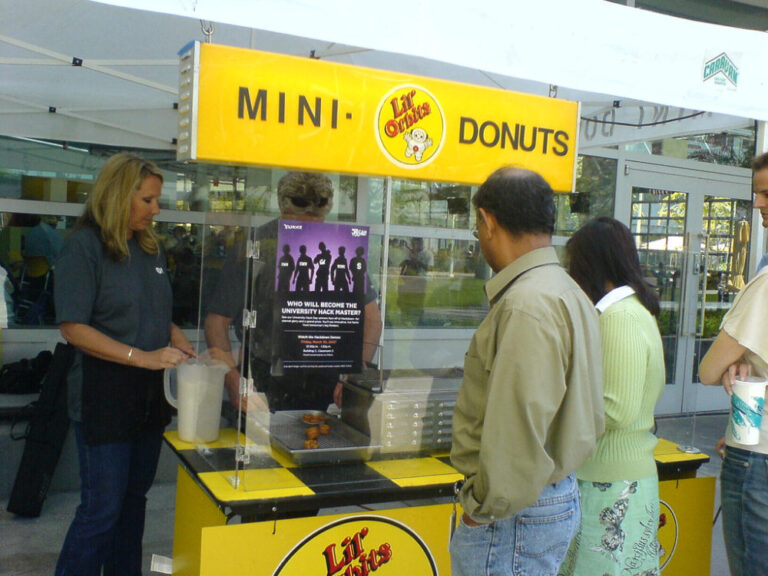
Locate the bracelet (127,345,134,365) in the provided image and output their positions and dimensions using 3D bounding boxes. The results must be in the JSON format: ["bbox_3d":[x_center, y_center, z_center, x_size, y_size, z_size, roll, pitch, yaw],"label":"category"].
[{"bbox_3d":[-1.092,0.286,2.890,0.015,0.066,0.019,5,-12,-21],"label":"bracelet"}]
